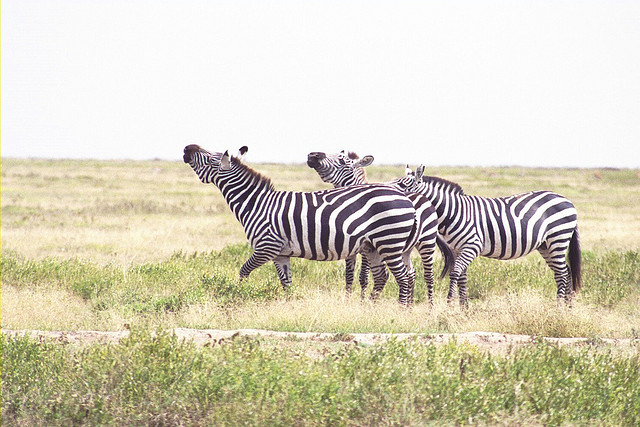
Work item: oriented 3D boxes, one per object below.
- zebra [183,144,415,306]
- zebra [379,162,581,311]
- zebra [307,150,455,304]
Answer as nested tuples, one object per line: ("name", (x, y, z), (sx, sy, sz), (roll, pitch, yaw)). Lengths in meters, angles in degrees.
("zebra", (-0.569, 0.379, 19.706), (4.772, 3.413, 1.552), (3, 6, 0))
("zebra", (3.453, 0.599, 20.135), (4.270, 3.198, 1.208), (1, 12, -5))
("zebra", (1.185, 0.347, 20.137), (3.577, 3.062, 1.032), (14, 6, 20))
